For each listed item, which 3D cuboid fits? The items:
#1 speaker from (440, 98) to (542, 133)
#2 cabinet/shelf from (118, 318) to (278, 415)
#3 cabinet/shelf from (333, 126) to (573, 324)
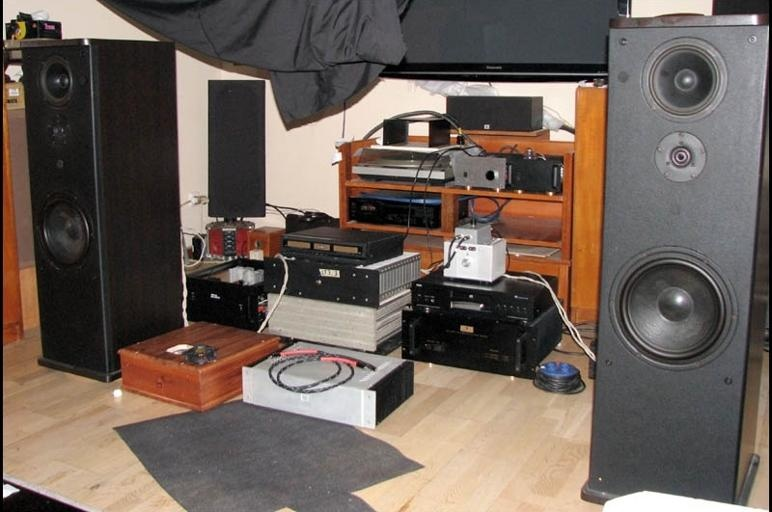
[{"bbox_3d":[0.582,-0.765,3.416,0.513,0.185,0.171,3,15,7],"label":"speaker"},{"bbox_3d":[-0.728,0.398,2.655,0.398,0.126,0.397,9,14,28],"label":"cabinet/shelf"},{"bbox_3d":[0.497,-0.238,3.558,1.346,0.891,0.734,10,17,32],"label":"cabinet/shelf"}]
